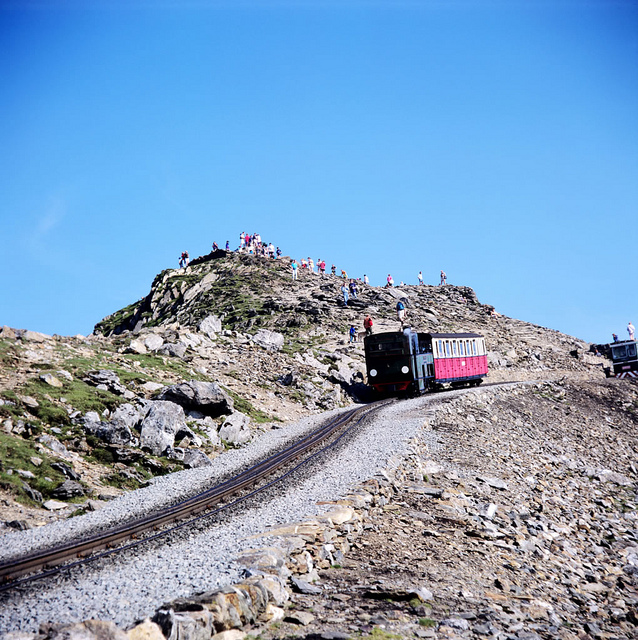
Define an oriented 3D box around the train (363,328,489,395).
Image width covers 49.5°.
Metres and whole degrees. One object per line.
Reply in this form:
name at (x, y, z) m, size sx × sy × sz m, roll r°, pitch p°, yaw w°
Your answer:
train at (7.730, 2.930, 48.832) m, size 3.507 × 3.587 × 15.053 m, roll -6°, pitch -4°, yaw 28°
